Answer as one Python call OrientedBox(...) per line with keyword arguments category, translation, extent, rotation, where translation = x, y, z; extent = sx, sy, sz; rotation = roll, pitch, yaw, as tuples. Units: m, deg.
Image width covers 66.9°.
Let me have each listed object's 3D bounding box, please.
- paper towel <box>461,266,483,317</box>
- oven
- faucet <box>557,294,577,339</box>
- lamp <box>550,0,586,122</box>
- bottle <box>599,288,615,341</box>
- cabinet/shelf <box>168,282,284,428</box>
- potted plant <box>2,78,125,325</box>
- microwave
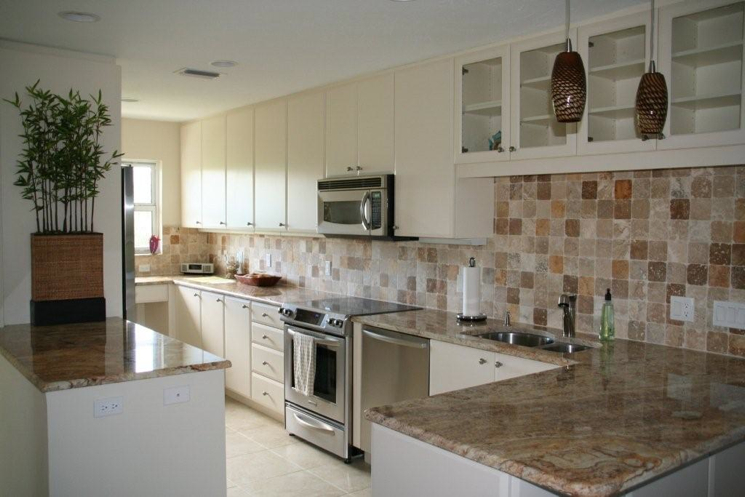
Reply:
OrientedBox(category="paper towel", translation=(0.734, 0.322, 4.183), extent=(0.134, 0.372, 0.125), rotation=(-1, 7, 5))
OrientedBox(category="oven", translation=(-0.270, 1.153, 4.857), extent=(0.822, 1.078, 0.752), rotation=(3, 3, 43))
OrientedBox(category="faucet", translation=(1.297, 0.452, 3.750), extent=(0.105, 0.278, 0.101), rotation=(1, 8, 19))
OrientedBox(category="lamp", translation=(0.885, -0.755, 2.545), extent=(0.151, 0.355, 0.160), rotation=(-3, 7, -7))
OrientedBox(category="bottle", translation=(1.541, 0.434, 3.681), extent=(0.087, 0.315, 0.184), rotation=(1, 8, 25))
OrientedBox(category="cabinet/shelf", translation=(-1.174, 0.909, 4.767), extent=(0.375, 0.589, 1.226), rotation=(1, 3, -35))
OrientedBox(category="potted plant", translation=(-2.209, -0.333, 4.088), extent=(0.690, 1.768, 0.507), rotation=(-5, 8, -25))
OrientedBox(category="microwave", translation=(-0.064, -0.341, 4.924), extent=(0.841, 0.538, 0.536), rotation=(4, 5, 45))
